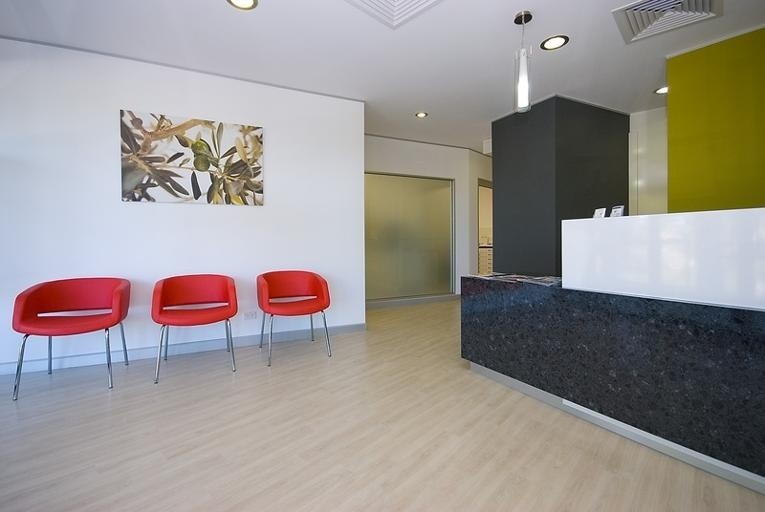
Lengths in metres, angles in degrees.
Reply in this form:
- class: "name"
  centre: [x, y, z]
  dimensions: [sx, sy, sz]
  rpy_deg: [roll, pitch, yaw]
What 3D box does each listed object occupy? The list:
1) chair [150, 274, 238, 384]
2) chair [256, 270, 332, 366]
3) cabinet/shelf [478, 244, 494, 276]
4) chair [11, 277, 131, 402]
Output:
- class: "chair"
  centre: [-2.098, 0.772, 5.357]
  dimensions: [0.851, 1.101, 0.742]
  rpy_deg: [-2, 3, -23]
- class: "chair"
  centre: [-1.094, 0.697, 5.859]
  dimensions: [0.870, 0.986, 0.904]
  rpy_deg: [-3, 6, -15]
- class: "cabinet/shelf"
  centre: [2.033, 0.057, 9.376]
  dimensions: [0.219, 0.547, 0.227]
  rpy_deg: [1, 6, 22]
- class: "chair"
  centre: [-3.249, 0.794, 5.021]
  dimensions: [0.939, 1.146, 0.871]
  rpy_deg: [-2, 0, -22]
